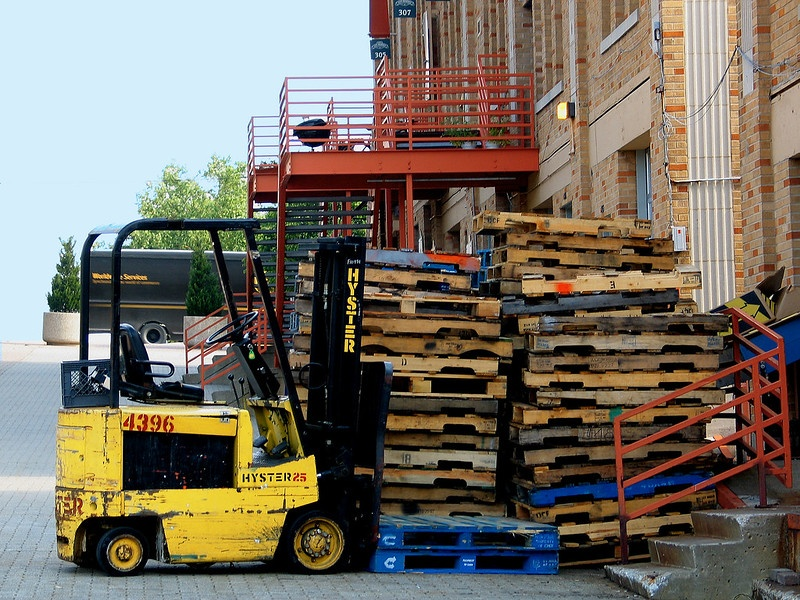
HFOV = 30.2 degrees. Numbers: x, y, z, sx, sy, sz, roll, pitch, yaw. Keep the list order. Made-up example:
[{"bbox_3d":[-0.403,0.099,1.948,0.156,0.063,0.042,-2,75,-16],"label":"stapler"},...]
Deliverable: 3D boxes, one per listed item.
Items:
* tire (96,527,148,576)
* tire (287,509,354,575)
[{"bbox_3d":[-2.995,2.715,16.001,0.461,0.486,0.210,-4,-5,-13],"label":"tire"},{"bbox_3d":[-0.913,2.669,16.364,0.637,0.668,0.246,6,-10,-17],"label":"tire"}]
